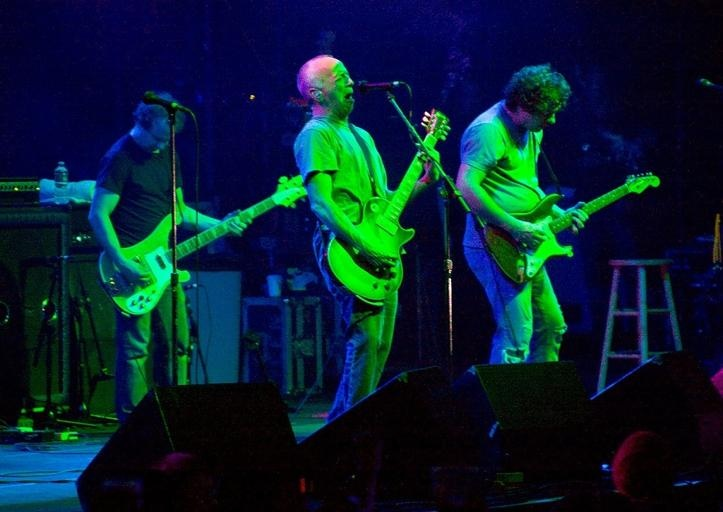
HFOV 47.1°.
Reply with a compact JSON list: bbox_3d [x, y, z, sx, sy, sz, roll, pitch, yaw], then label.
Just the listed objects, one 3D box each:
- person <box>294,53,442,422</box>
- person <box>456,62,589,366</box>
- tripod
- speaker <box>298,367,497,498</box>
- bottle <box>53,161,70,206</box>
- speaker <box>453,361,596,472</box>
[{"bbox_3d":[-0.083,-0.156,5.609,0.704,2.461,0.326,-1,-9,-2],"label":"person"},{"bbox_3d":[1.155,-0.331,6.128,0.863,2.219,0.630,-2,-9,6],"label":"person"},{"bbox_3d":[0.567,-0.072,6.906,0.346,2.566,0.286,-14,6,0],"label":"tripod"},{"bbox_3d":[0.219,0.974,4.547,0.807,0.500,0.783,8,-25,-31],"label":"speaker"},{"bbox_3d":[-2.671,-0.662,7.376,0.147,0.441,0.294,2,-9,-20],"label":"bottle"},{"bbox_3d":[0.953,0.851,4.805,0.674,0.501,0.634,-3,21,-5],"label":"speaker"}]
